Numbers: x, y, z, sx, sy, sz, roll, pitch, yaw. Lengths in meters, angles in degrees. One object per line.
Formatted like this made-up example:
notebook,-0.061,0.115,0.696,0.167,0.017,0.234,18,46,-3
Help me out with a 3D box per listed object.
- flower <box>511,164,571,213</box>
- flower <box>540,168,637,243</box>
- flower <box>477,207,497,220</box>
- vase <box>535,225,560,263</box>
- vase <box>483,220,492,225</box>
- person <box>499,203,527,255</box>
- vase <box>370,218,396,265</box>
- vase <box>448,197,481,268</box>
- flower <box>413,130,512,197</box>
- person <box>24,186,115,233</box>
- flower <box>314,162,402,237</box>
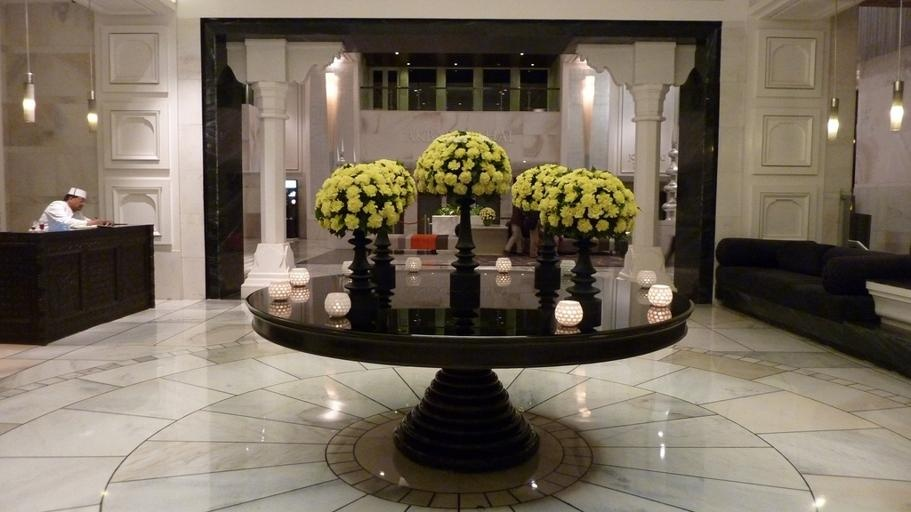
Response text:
flower,0.843,-0.728,7.017,0.613,0.366,0.526,-8,13,-36
flower,1.375,-0.520,6.689,0.836,0.546,0.793,2,7,22
flower,0.757,-0.970,15.503,0.426,0.309,0.392,0,2,-4
vase,0.998,-0.140,6.963,0.172,0.364,0.195,1,-2,40
vase,0.734,-0.779,15.435,0.169,0.104,0.164,-1,2,30
person,1.343,-0.548,14.990,0.495,1.126,0.756,1,11,5
vase,-0.747,-0.151,6.681,0.314,0.494,0.277,-1,-7,-1
vase,0.093,-0.219,6.541,0.246,0.757,0.300,0,11,0
flower,0.032,-0.874,6.464,0.780,0.571,0.756,-5,7,-35
person,-5.530,-0.673,9.474,1.187,0.509,0.768,2,2,9
flower,-0.995,-0.534,6.374,0.764,0.566,0.776,-5,5,-21
